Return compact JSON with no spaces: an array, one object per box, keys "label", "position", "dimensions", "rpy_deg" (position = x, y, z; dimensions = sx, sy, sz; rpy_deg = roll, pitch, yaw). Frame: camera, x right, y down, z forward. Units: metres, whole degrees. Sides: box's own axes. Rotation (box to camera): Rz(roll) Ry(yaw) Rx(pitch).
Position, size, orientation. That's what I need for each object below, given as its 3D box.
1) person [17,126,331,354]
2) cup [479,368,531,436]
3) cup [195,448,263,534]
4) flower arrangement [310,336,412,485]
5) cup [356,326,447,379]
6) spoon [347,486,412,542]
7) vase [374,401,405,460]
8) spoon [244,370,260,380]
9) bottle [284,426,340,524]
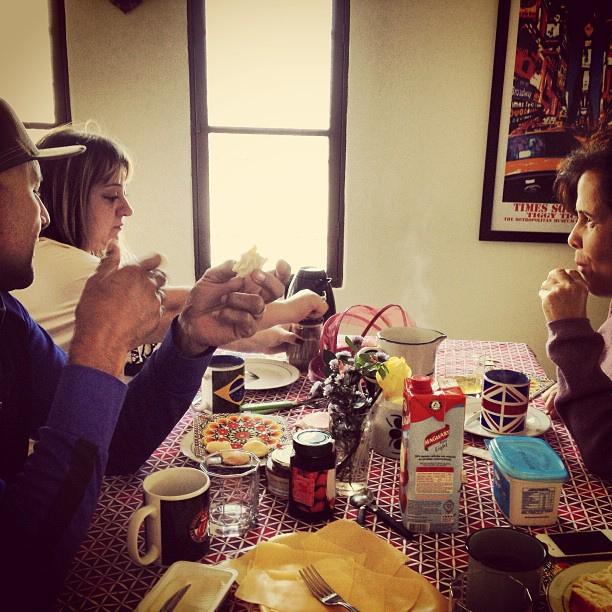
[{"label":"person","position":[-0.420,-0.070,1.674],"dimensions":[0.834,0.801,0.316],"rpy_deg":[3,6,12]},{"label":"cup","position":[0.401,0.199,1.130],"dimensions":[0.098,0.112,0.107],"rpy_deg":[1,8,0]},{"label":"cup","position":[-0.105,0.276,0.841],"dimensions":[0.089,0.080,0.110],"rpy_deg":[2,3,9]},{"label":"flower arrangement","position":[0.107,0.146,0.999],"dimensions":[0.087,0.141,0.087],"rpy_deg":[1,-10,2]},{"label":"cup","position":[0.213,0.087,1.235],"dimensions":[0.191,0.170,0.119],"rpy_deg":[-1,3,1]},{"label":"spoon","position":[0.115,0.320,0.853],"dimensions":[0.034,0.010,0.101],"rpy_deg":[-7,11,-25]},{"label":"vase","position":[0.163,0.231,1.054],"dimensions":[0.083,0.089,0.085],"rpy_deg":[0,0,12]},{"label":"spoon","position":[-0.138,0.180,1.442],"dimensions":[0.016,0.001,0.051],"rpy_deg":[-2,16,-28]},{"label":"bottle","position":[0.016,0.268,0.859],"dimensions":[0.080,0.115,0.077],"rpy_deg":[2,-5,0]}]
